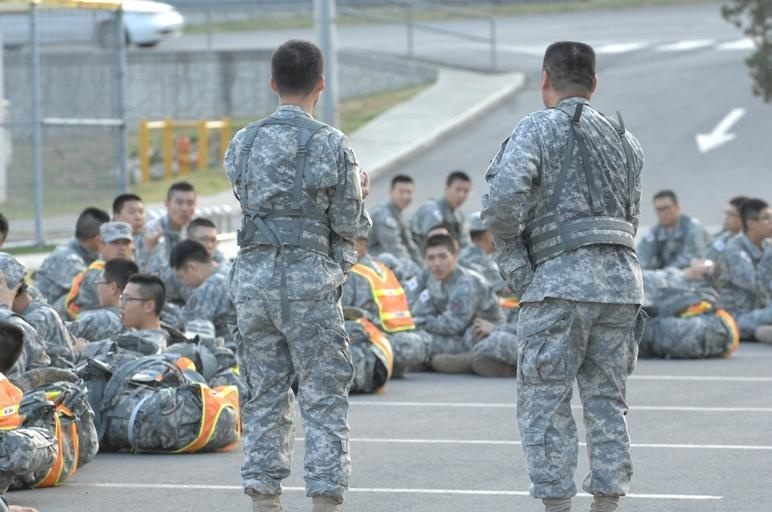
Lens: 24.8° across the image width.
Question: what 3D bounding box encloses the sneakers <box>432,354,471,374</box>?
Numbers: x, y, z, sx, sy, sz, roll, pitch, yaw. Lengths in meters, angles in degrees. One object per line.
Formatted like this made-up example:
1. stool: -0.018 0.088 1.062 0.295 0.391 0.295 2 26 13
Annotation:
1. sneakers: 0.893 1.460 23.783 0.487 0.216 0.268 1 3 6
